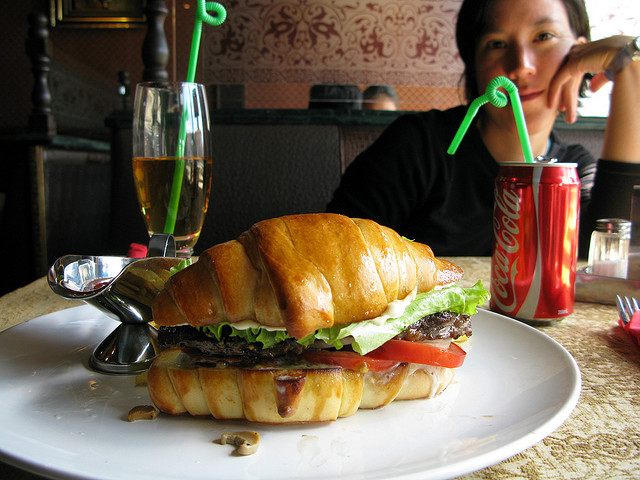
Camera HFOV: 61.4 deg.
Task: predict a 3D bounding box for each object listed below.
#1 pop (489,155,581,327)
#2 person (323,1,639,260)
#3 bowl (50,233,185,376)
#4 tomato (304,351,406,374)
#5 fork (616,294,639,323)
[{"bbox_3d":[0.477,0.013,1.207,0.185,0.373,0.095,7,8,24],"label":"pop"},{"bbox_3d":[0.730,-0.515,2.380,1.535,1.231,0.815,1,5,-7],"label":"person"},{"bbox_3d":[-0.377,0.120,1.096,0.331,0.235,0.211,-7,0,37],"label":"bowl"},{"bbox_3d":[0.058,0.215,0.944,0.174,0.031,0.028,4,7,0],"label":"tomato"},{"bbox_3d":[0.689,0.153,1.209,0.024,0.027,0.180,22,27,18],"label":"fork"}]
